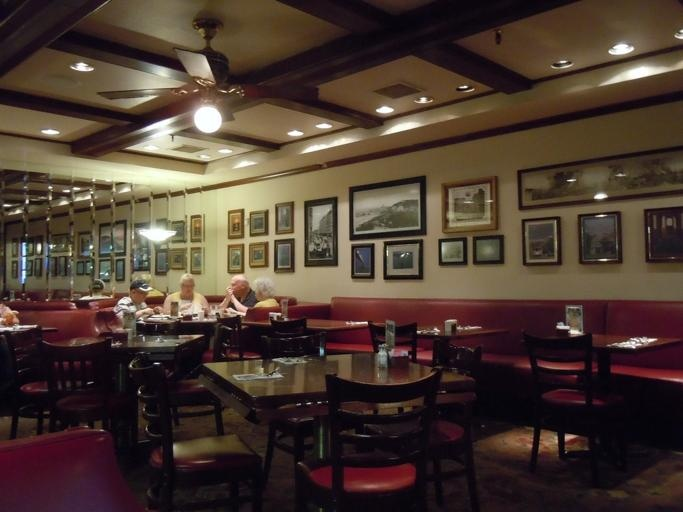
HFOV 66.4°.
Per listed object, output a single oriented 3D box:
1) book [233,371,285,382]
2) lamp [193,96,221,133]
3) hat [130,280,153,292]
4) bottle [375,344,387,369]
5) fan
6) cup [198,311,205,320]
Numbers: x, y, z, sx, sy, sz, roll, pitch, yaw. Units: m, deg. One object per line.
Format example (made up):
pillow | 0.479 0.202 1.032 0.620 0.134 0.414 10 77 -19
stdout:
book | -0.525 0.767 3.321 0.304 0.011 0.211 0 1 -14
lamp | -1.259 -1.333 4.909 0.227 0.288 0.253 0 2 -17
hat | -2.501 0.376 6.611 0.171 0.124 0.249 4 4 42
bottle | 0.288 0.689 3.631 0.076 0.141 0.188 0 1 4
fan | -1.390 -1.705 4.924 1.397 1.031 1.050 1 2 45
cup | -1.753 0.760 6.636 0.101 0.093 0.092 0 0 -7
